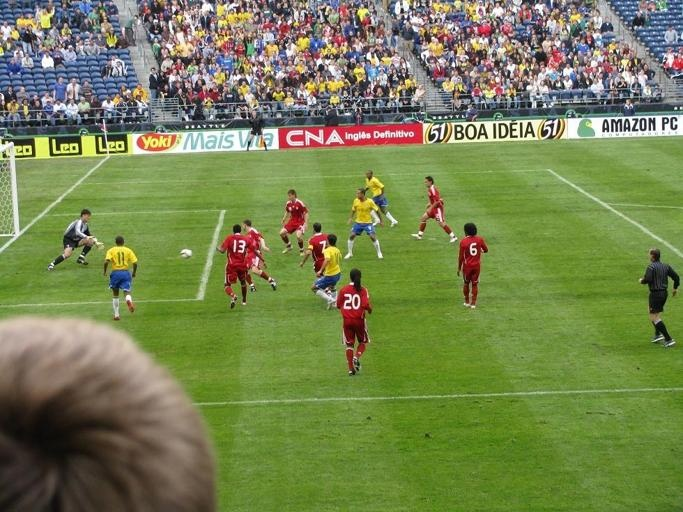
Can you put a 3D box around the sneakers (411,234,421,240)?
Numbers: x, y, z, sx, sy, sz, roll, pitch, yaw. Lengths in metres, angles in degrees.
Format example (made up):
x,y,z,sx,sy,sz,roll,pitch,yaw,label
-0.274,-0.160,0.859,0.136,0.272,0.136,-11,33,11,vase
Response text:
x,y,z,sx,sy,sz,roll,pitch,yaw,label
2.356,-0.659,34.400,0.302,0.136,0.118,18,-2,3,sneakers

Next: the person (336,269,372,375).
x,y,z,sx,sy,sz,roll,pitch,yaw,label
0.258,1.384,23.497,0.622,2.170,0.777,6,11,44,person

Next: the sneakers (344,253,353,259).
x,y,z,sx,sy,sz,roll,pitch,yaw,label
0.182,-0.042,32.254,0.229,0.170,0.385,-2,8,-2,sneakers

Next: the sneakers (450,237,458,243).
x,y,z,sx,sy,sz,roll,pitch,yaw,label
3.482,-0.569,33.848,0.217,0.205,0.357,0,8,10,sneakers

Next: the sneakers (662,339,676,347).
x,y,z,sx,sy,sz,roll,pitch,yaw,label
7.311,1.932,24.280,0.272,0.106,0.117,-2,32,-35,sneakers

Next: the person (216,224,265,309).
x,y,z,sx,sy,sz,roll,pitch,yaw,label
-2.730,0.336,27.852,0.671,1.815,1.102,2,9,25,person

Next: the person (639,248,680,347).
x,y,z,sx,sy,sz,roll,pitch,yaw,label
7.166,0.888,24.559,0.734,2.124,0.955,1,9,20,person

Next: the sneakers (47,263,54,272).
x,y,z,sx,sy,sz,roll,pitch,yaw,label
-8.398,0.253,31.399,0.211,0.212,0.371,-4,8,-14,sneakers

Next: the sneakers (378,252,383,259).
x,y,z,sx,sy,sz,roll,pitch,yaw,label
1.140,-0.049,32.379,0.131,0.170,0.047,-5,-12,9,sneakers

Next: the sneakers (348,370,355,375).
x,y,z,sx,sy,sz,roll,pitch,yaw,label
0.210,2.478,23.243,0.124,0.125,0.209,0,-1,-2,sneakers

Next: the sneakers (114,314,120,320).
x,y,z,sx,sy,sz,roll,pitch,yaw,label
-5.568,1.487,26.884,0.122,0.141,0.323,-1,-6,-9,sneakers

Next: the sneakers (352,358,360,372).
x,y,z,sx,sy,sz,roll,pitch,yaw,label
0.319,2.330,23.387,0.108,0.298,0.142,-1,0,27,sneakers

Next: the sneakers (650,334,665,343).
x,y,z,sx,sy,sz,roll,pitch,yaw,label
7.096,1.860,24.416,0.314,0.141,0.123,-2,3,14,sneakers

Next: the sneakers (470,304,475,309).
x,y,z,sx,sy,sz,roll,pitch,yaw,label
3.304,1.234,27.399,0.140,0.085,0.199,-1,8,4,sneakers

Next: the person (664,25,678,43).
x,y,z,sx,sy,sz,roll,pitch,yaw,label
19.309,-13.002,63.435,0.848,0.932,0.670,-4,8,-19,person

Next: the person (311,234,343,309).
x,y,z,sx,sy,sz,roll,pitch,yaw,label
-0.391,0.356,27.609,0.693,1.933,1.022,-2,8,0,person

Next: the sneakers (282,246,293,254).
x,y,z,sx,sy,sz,roll,pitch,yaw,label
-1.667,-0.233,33.282,0.145,0.336,0.124,32,22,-36,sneakers
